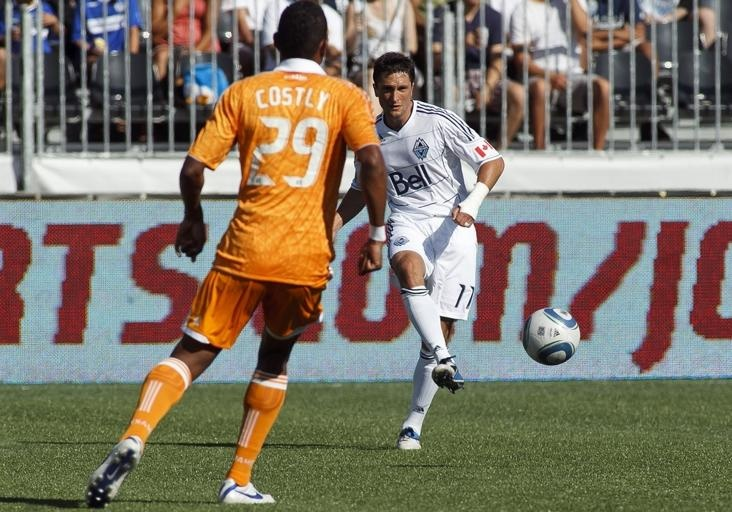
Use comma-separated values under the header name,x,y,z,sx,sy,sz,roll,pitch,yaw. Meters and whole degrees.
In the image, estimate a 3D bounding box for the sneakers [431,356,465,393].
name,x,y,z,sx,sy,sz,roll,pitch,yaw
sneakers,0.545,0.798,10.895,0.136,0.306,0.168,-20,25,19

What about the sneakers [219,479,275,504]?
name,x,y,z,sx,sy,sz,roll,pitch,yaw
sneakers,-0.795,1.525,10.361,0.394,0.180,0.141,4,-4,-16

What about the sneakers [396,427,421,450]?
name,x,y,z,sx,sy,sz,roll,pitch,yaw
sneakers,0.305,1.309,11.574,0.166,0.141,0.184,2,6,1
